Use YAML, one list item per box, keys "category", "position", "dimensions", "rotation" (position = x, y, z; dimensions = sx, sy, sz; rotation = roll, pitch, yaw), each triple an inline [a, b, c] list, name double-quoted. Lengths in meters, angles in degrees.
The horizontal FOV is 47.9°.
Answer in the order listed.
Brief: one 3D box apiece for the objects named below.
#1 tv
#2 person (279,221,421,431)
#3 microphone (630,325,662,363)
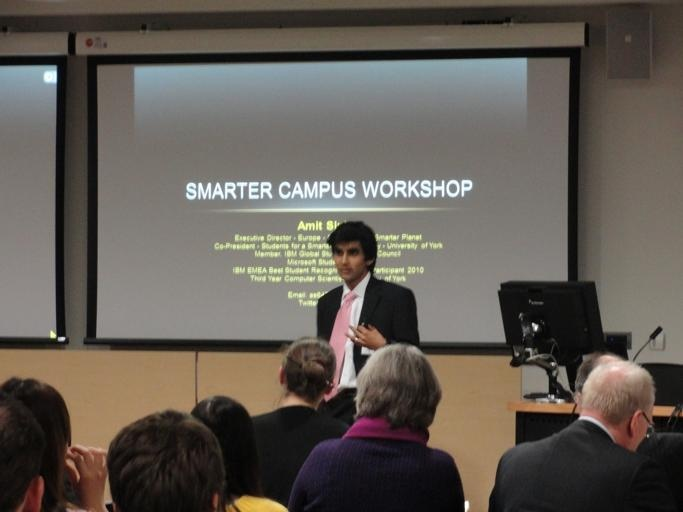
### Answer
- category: "tv"
  position: [1.210, 0.497, 4.490]
  dimensions: [0.559, 0.733, 0.576]
  rotation: [-2, -7, 33]
- category: "person"
  position: [0.089, 0.746, 4.850]
  dimensions: [0.702, 1.890, 0.486]
  rotation: [1, 4, 45]
- category: "microphone"
  position: [2.277, 0.651, 5.728]
  dimensions: [0.101, 0.066, 0.412]
  rotation: [5, 47, 53]
